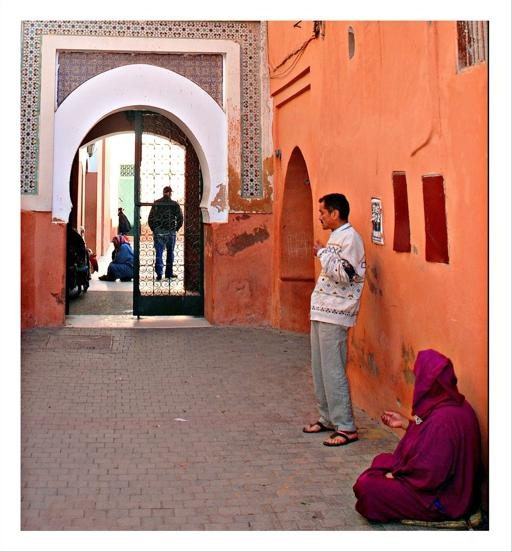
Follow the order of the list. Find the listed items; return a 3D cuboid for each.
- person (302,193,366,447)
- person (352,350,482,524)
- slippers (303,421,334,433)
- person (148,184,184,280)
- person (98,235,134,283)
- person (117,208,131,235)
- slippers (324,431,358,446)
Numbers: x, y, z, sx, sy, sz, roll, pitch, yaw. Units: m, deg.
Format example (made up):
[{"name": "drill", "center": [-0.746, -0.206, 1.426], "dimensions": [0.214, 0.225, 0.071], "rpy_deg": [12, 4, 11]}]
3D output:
[{"name": "person", "center": [0.590, 0.309, 3.981], "dimensions": [0.382, 1.932, 0.482], "rpy_deg": [-1, 2, -43]}, {"name": "person", "center": [0.845, 0.848, 2.806], "dimensions": [0.608, 1.146, 0.729], "rpy_deg": [2, -13, 16]}, {"name": "slippers", "center": [0.507, 1.232, 4.131], "dimensions": [0.245, 0.122, 0.104], "rpy_deg": [4, -7, -13]}, {"name": "person", "center": [-1.656, -0.803, 9.299], "dimensions": [0.628, 1.665, 0.207], "rpy_deg": [0, 2, -18]}, {"name": "person", "center": [-3.973, -0.508, 14.750], "dimensions": [0.920, 1.322, 0.462], "rpy_deg": [1, 2, 19]}, {"name": "person", "center": [-5.087, -2.081, 19.566], "dimensions": [0.373, 1.080, 2.465], "rpy_deg": [0, 3, -14]}, {"name": "slippers", "center": [0.648, 1.219, 3.867], "dimensions": [0.194, 0.091, 0.113], "rpy_deg": [7, -12, -23]}]
